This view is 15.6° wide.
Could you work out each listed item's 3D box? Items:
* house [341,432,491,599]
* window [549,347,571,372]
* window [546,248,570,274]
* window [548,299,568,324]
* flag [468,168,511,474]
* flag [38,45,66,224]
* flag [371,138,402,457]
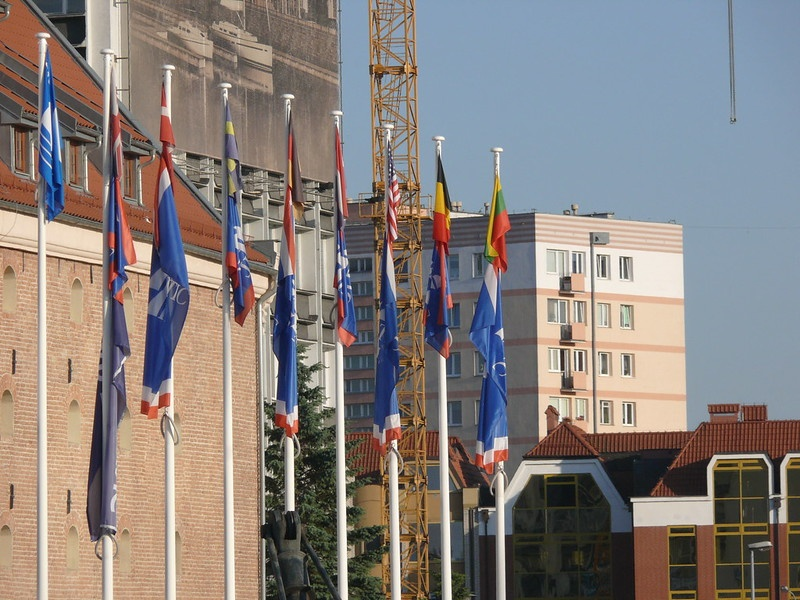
[{"bbox_3d":[1.895,10.909,150.756,7.583,11.051,10.551,-1,-2,-7],"label":"house"},{"bbox_3d":[9.753,4.040,179.977,0.106,1.201,1.286,-7,-9,42],"label":"window"},{"bbox_3d":[9.668,-1.951,181.418,1.409,1.332,0.134,-2,-1,-42],"label":"window"},{"bbox_3d":[9.655,1.142,180.644,1.372,1.314,0.120,1,-5,-42],"label":"window"},{"bbox_3d":[3.350,0.986,106.716,1.310,10.782,2.103,-2,-11,3],"label":"flag"},{"bbox_3d":[-11.814,-5.449,100.059,0.696,5.519,1.375,-2,-11,5],"label":"flag"},{"bbox_3d":[-0.420,0.184,105.679,1.249,11.265,1.000,-2,17,-9],"label":"flag"}]
